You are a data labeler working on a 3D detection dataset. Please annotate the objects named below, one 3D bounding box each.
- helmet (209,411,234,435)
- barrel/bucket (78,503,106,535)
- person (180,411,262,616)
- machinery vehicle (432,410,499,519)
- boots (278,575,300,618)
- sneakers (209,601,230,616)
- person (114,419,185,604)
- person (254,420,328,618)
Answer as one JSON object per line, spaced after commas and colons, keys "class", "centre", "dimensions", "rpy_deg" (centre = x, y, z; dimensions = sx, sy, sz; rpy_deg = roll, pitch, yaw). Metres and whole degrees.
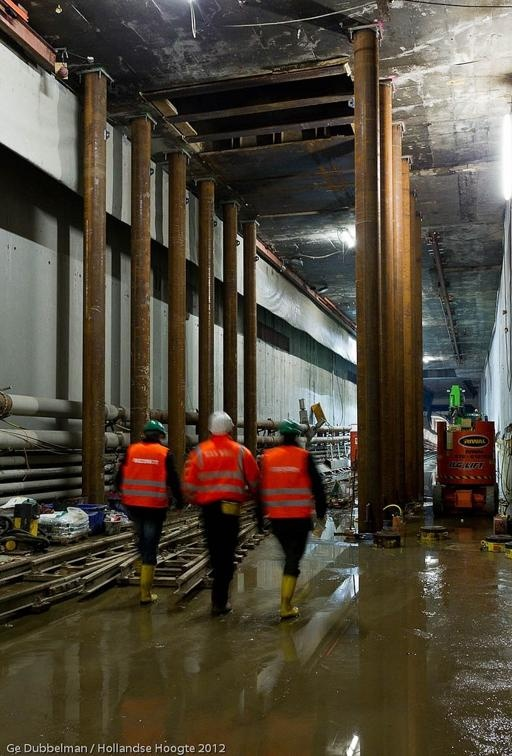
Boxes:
{"class": "helmet", "centre": [-0.310, 0.405, 6.156], "dimensions": [0.179, 0.202, 0.232], "rpy_deg": [0, -5, 0]}
{"class": "barrel/bucket", "centre": [-2.445, 2.115, 10.215], "dimensions": [0.410, 0.322, 0.428], "rpy_deg": [0, -7, 0]}
{"class": "person", "centre": [-0.298, 1.287, 5.986], "dimensions": [0.682, 1.573, 0.266], "rpy_deg": [0, -7, -3]}
{"class": "machinery vehicle", "centre": [4.540, 1.967, 14.754], "dimensions": [1.296, 2.089, 1.163], "rpy_deg": [-2, -7, 16]}
{"class": "boots", "centre": [0.283, 1.860, 5.793], "dimensions": [0.151, 0.361, 0.216], "rpy_deg": [0, -7, 3]}
{"class": "sneakers", "centre": [-0.314, 2.045, 6.018], "dimensions": [0.162, 0.110, 0.085], "rpy_deg": [-7, 6, -5]}
{"class": "person", "centre": [-0.966, 1.271, 6.386], "dimensions": [0.770, 1.743, 0.376], "rpy_deg": [-5, -9, 36]}
{"class": "person", "centre": [0.319, 1.209, 5.881], "dimensions": [0.574, 1.676, 0.245], "rpy_deg": [0, -7, -1]}
